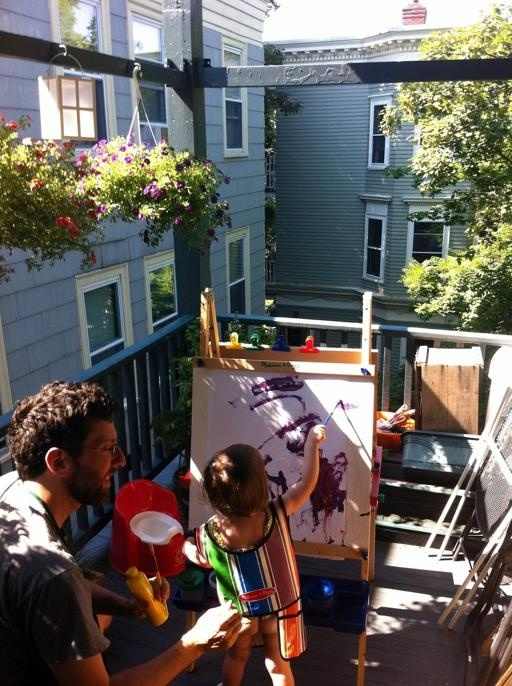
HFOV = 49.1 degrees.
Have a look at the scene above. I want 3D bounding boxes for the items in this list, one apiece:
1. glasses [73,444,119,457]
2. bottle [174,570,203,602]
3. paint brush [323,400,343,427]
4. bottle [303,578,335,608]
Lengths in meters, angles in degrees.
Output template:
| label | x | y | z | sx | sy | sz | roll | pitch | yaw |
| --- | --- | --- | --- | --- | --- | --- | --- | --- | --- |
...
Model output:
| label | x | y | z | sx | sy | sz | roll | pitch | yaw |
| --- | --- | --- | --- | --- | --- | --- | --- | --- | --- |
| glasses | -0.333 | 0.219 | 1.153 | 0.052 | 0.015 | 0.049 | 0 | 4 | -4 |
| bottle | -0.254 | 0.918 | 2.126 | 0.079 | 0.083 | 0.083 | 1 | -4 | 2 |
| paint brush | 0.317 | 0.285 | 2.280 | 0.021 | 0.115 | 0.019 | 32 | -2 | 12 |
| bottle | 0.232 | 0.912 | 2.063 | 0.071 | 0.048 | 0.087 | 0 | 16 | 5 |
